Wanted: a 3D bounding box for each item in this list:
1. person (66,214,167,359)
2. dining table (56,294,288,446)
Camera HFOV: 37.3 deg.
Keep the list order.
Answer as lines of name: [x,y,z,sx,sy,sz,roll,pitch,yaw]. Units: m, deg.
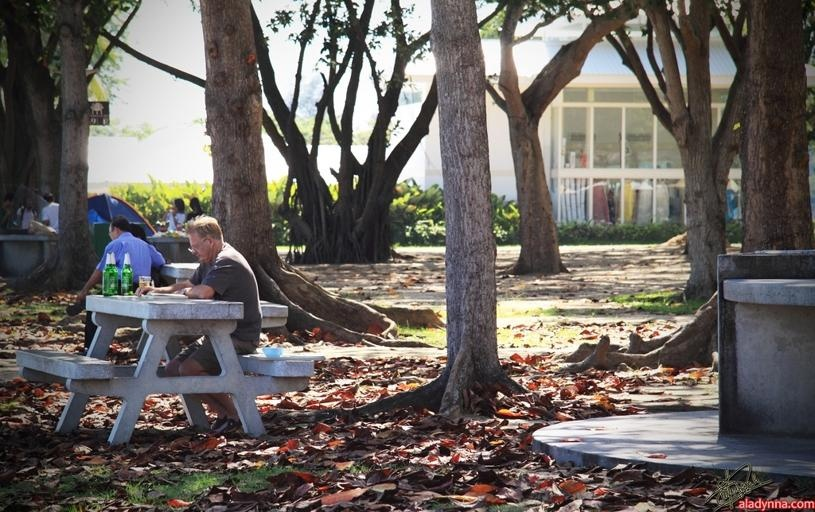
person: [-4.757,0.420,20.075,1.278,2.110,1.143,4,7,7]
dining table: [-3.350,1.482,16.811,2.282,1.508,2.439,-1,2,-26]
